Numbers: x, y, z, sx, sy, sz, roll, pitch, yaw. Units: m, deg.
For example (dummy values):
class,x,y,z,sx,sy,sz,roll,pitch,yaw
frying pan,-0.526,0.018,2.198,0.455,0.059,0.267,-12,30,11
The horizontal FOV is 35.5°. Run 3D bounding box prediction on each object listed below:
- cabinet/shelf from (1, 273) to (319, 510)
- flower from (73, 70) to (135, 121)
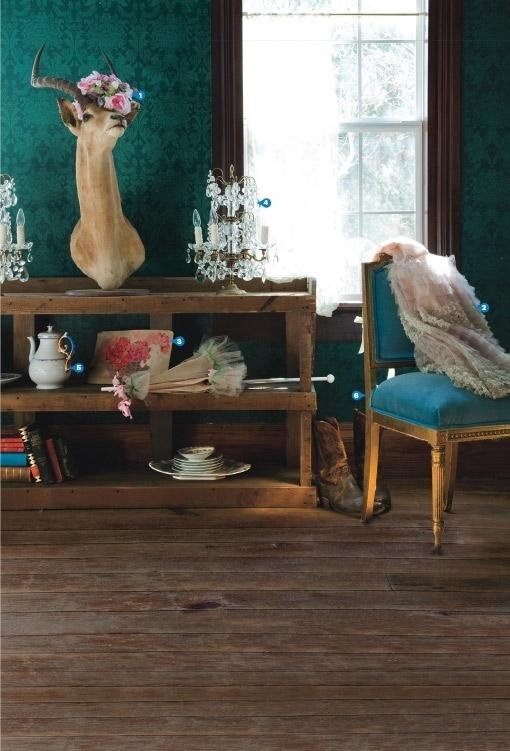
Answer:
class,x,y,z,sx,sy,sz,roll,pitch,yaw
cabinet/shelf,-0.407,0.061,3.279,1.152,0.624,0.345,0,-1,2
flower,-0.561,-1.053,3.025,0.216,0.171,0.086,17,-5,-6
